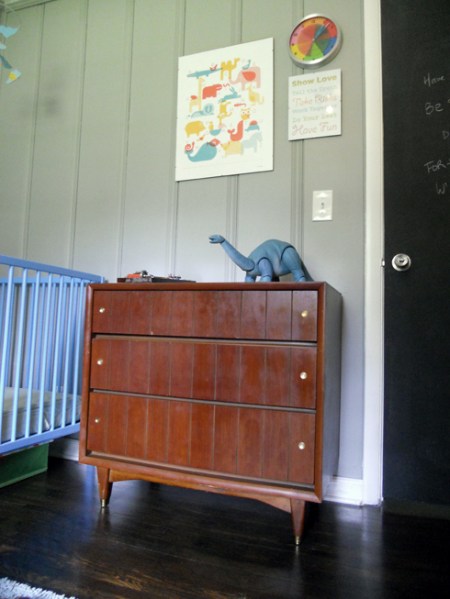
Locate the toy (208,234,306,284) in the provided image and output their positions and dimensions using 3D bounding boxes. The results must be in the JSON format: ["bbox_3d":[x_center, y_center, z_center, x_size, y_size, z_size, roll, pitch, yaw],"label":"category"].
[{"bbox_3d":[0.112,-0.139,1.891,0.357,0.149,0.177,4,-5,-8],"label":"toy"}]
